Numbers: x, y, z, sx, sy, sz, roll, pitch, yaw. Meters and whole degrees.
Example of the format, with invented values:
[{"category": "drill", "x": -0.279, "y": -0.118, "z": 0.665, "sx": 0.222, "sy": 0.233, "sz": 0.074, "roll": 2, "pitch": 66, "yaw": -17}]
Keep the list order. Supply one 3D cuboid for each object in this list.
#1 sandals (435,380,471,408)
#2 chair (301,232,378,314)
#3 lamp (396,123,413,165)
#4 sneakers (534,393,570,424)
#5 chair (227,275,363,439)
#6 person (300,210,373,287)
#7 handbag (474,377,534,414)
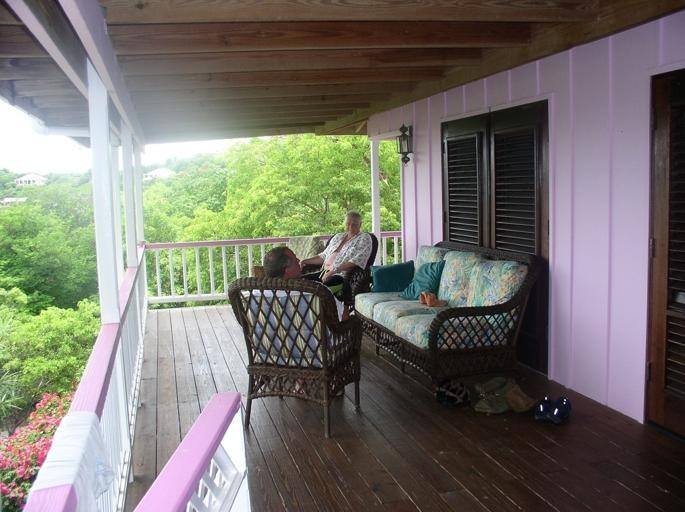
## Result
[{"category": "sandals", "x": 0.894, "y": 1.080, "z": 4.023, "sx": 0.193, "sy": 0.120, "sz": 0.201, "roll": 1, "pitch": -1, "yaw": -9}, {"category": "chair", "x": 0.112, "y": 0.183, "z": 6.099, "sx": 0.961, "sy": 0.921, "sz": 0.718, "roll": -2, "pitch": 0, "yaw": -42}, {"category": "lamp", "x": 0.842, "y": -1.493, "z": 6.689, "sx": 0.211, "sy": 0.520, "sz": 0.209, "roll": 10, "pitch": 16, "yaw": 43}, {"category": "sneakers", "x": 1.587, "y": 1.109, "z": 3.741, "sx": 0.169, "sy": 0.081, "sz": 0.211, "roll": -3, "pitch": 20, "yaw": 27}, {"category": "chair", "x": -0.341, "y": 0.643, "z": 4.020, "sx": 0.874, "sy": 1.142, "sz": 1.085, "roll": 0, "pitch": 7, "yaw": 5}, {"category": "person", "x": -0.170, "y": -0.074, "z": 6.049, "sx": 1.276, "sy": 0.870, "sz": 0.864, "roll": -9, "pitch": 11, "yaw": -43}, {"category": "handbag", "x": 1.299, "y": 1.121, "z": 4.023, "sx": 0.469, "sy": 0.156, "sz": 0.356, "roll": 0, "pitch": 9, "yaw": 15}]
